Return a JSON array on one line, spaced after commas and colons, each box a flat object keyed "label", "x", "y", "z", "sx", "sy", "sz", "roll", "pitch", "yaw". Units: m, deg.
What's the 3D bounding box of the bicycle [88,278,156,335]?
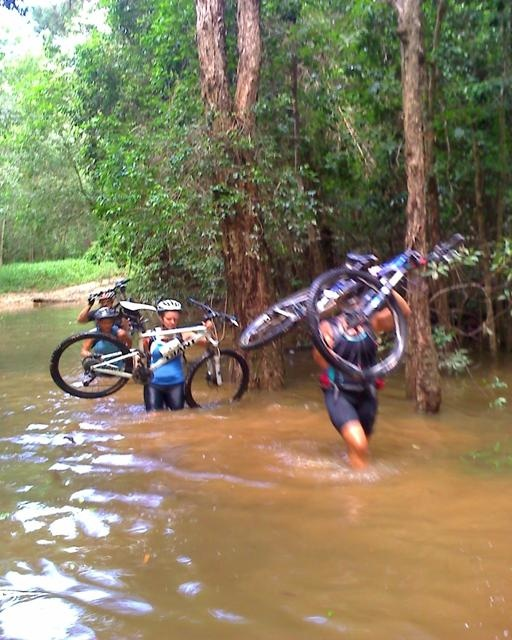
[{"label": "bicycle", "x": -2.097, "y": -0.119, "z": 8.842, "sx": 0.794, "sy": 0.867, "sz": 1.438, "roll": 22, "pitch": -23, "yaw": -10}]

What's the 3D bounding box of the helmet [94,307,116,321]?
[{"label": "helmet", "x": -2.157, "y": -0.101, "z": 8.110, "sx": 0.149, "sy": 0.247, "sz": 0.229, "roll": 0, "pitch": 14, "yaw": 7}]

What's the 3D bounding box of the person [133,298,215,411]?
[{"label": "person", "x": -1.137, "y": 0.520, "z": 7.730, "sx": 1.045, "sy": 2.228, "sz": 0.588, "roll": 3, "pitch": -15, "yaw": -33}]

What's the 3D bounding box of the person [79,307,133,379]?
[{"label": "person", "x": -2.310, "y": 0.391, "z": 8.480, "sx": 0.662, "sy": 1.661, "sz": 0.530, "roll": 2, "pitch": 31, "yaw": -19}]

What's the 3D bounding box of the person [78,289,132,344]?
[{"label": "person", "x": -2.403, "y": -0.034, "z": 9.068, "sx": 0.811, "sy": 0.766, "sz": 1.933, "roll": -12, "pitch": -3, "yaw": -12}]

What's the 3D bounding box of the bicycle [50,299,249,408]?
[{"label": "bicycle", "x": -1.512, "y": 0.708, "z": 7.697, "sx": 2.231, "sy": 1.803, "sz": 1.428, "roll": 6, "pitch": 18, "yaw": -9}]

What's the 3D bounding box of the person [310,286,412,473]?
[{"label": "person", "x": 0.856, "y": 0.610, "z": 4.731, "sx": 0.582, "sy": 1.946, "sz": 0.532, "roll": 4, "pitch": 23, "yaw": 18}]
